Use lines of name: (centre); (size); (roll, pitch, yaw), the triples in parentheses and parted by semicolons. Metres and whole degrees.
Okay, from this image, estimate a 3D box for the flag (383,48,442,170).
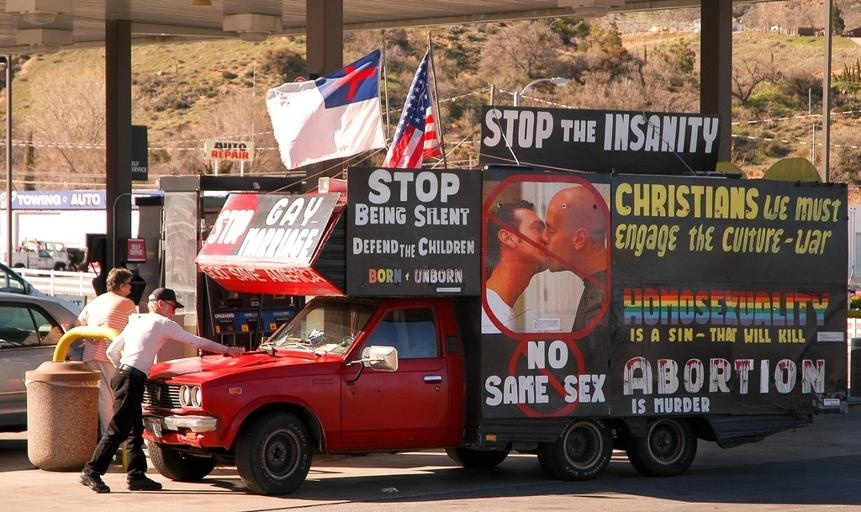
flag: (-0.326, -3.912, 42.753); (1.384, 3.306, 0.377); (3, 5, 19)
